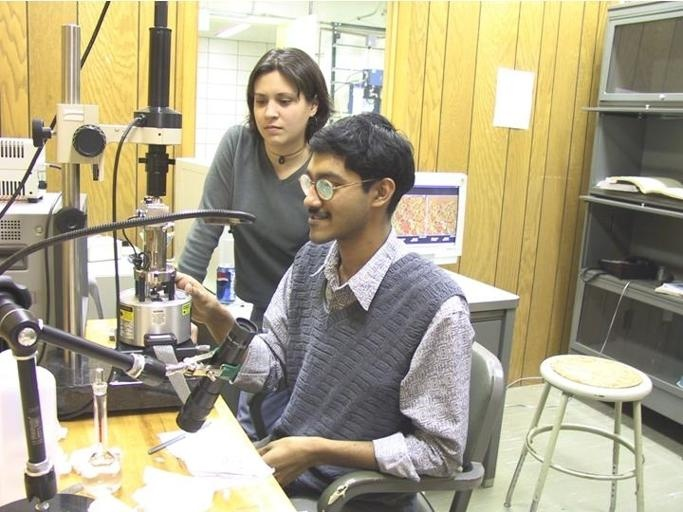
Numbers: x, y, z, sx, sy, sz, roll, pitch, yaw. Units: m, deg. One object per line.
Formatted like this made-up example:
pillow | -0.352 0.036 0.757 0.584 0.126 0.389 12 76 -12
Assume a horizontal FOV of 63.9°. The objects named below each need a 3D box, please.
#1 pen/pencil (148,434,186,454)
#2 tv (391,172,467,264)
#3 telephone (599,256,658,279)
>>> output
pen/pencil | -0.372 0.400 1.178 0.021 0.014 0.092 21 24 31
tv | 0.394 -0.187 2.506 0.442 0.447 0.143 -2 10 -24
telephone | 1.863 0.072 3.569 0.349 0.124 0.256 8 11 24
